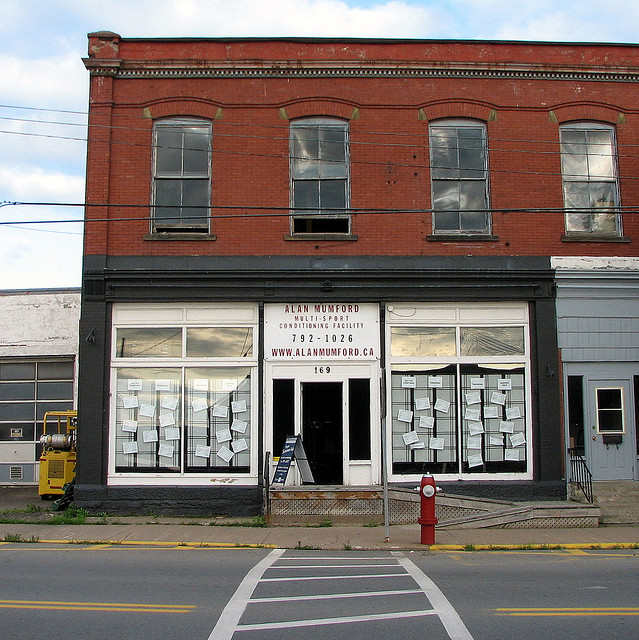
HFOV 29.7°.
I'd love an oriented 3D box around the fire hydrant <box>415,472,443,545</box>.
[{"bbox_3d":[1.854,3.299,20.756,0.346,1.193,0.875,-1,-10,5],"label":"fire hydrant"}]
